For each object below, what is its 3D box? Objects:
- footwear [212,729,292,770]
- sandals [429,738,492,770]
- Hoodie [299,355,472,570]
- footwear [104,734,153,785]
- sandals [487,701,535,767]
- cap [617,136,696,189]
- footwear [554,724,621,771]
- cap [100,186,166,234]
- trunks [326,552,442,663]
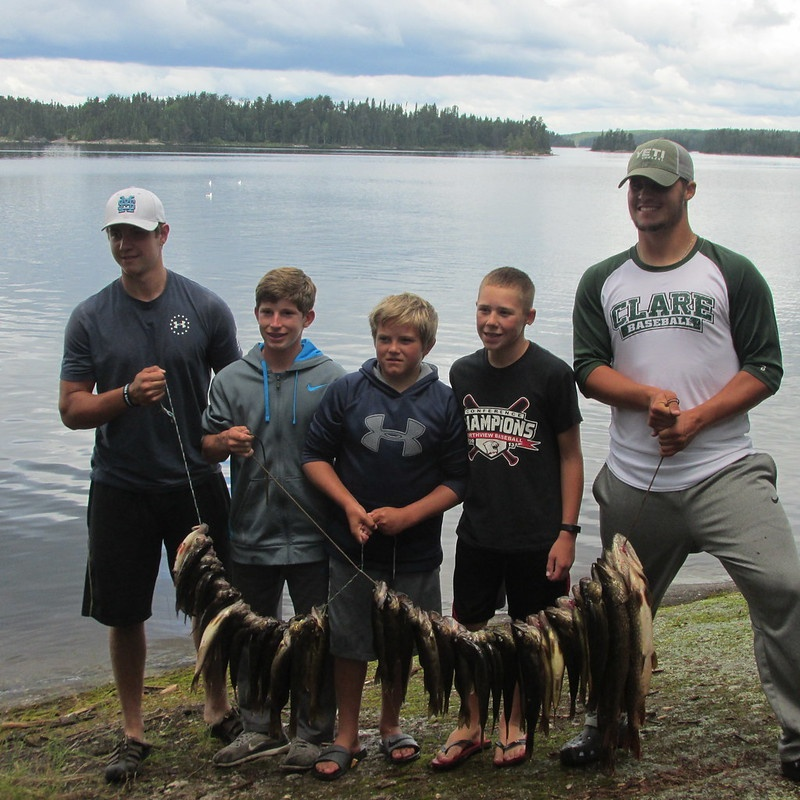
[{"bbox_3d":[-0.731,1.699,4.557,0.438,0.174,0.153,-3,-8,-12],"label":"footwear"},{"bbox_3d":[0.295,1.664,4.382,0.282,0.070,0.100,1,-3,-40],"label":"sandals"},{"bbox_3d":[-0.073,0.321,4.462,1.078,1.134,0.592,2,-6,1],"label":"Hoodie"},{"bbox_3d":[-1.347,1.763,4.580,0.161,0.159,0.330,-5,-3,0],"label":"footwear"},{"bbox_3d":[0.517,1.571,4.362,0.117,0.075,0.320,-9,19,8],"label":"sandals"},{"bbox_3d":[1.221,-1.096,4.400,0.330,0.259,0.481,9,14,44],"label":"cap"},{"bbox_3d":[0.928,1.566,4.161,0.424,0.165,0.150,2,-4,-23],"label":"footwear"},{"bbox_3d":[-1.353,-0.978,4.716,0.289,0.284,0.291,-4,-3,-15],"label":"cap"},{"bbox_3d":[-0.099,1.103,4.480,0.489,0.445,0.266,10,38,6],"label":"trunks"}]
